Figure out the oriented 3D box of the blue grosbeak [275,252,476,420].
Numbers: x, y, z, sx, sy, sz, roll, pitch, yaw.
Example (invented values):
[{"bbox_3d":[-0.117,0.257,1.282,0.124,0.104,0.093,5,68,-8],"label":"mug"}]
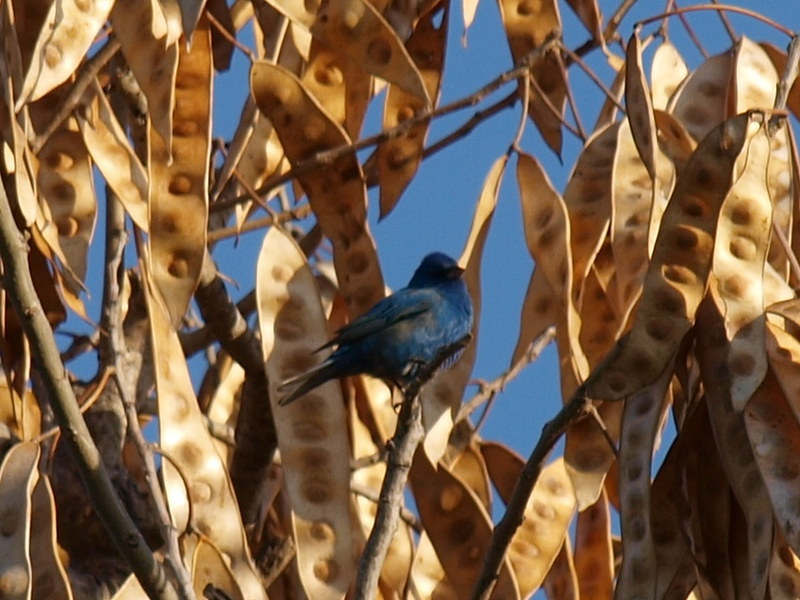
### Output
[{"bbox_3d":[-0.015,0.164,13.646,1.145,0.868,0.481,-10,12,-35],"label":"blue grosbeak"}]
